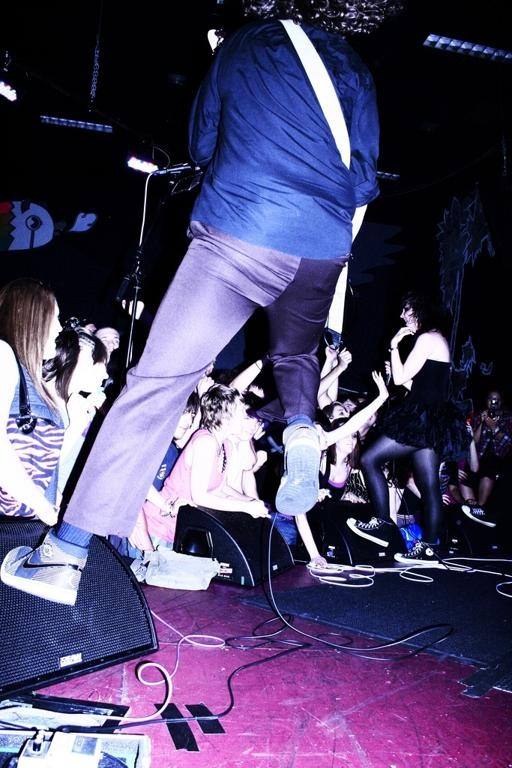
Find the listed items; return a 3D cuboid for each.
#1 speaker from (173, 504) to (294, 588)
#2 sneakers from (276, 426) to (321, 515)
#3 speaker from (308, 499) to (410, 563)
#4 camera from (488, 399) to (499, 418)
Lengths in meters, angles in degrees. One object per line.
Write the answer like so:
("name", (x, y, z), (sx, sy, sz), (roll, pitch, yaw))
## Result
("speaker", (-0.110, 0.709, 2.729), (0.404, 0.234, 0.404), (-2, -8, 33))
("sneakers", (0.101, 0.230, 1.608), (0.110, 0.254, 0.122), (3, 8, -9))
("speaker", (0.594, 0.810, 3.386), (0.416, 0.241, 0.405), (9, 6, -35))
("camera", (2.197, 0.229, 5.397), (0.049, 0.138, 0.103), (6, -1, -42))
